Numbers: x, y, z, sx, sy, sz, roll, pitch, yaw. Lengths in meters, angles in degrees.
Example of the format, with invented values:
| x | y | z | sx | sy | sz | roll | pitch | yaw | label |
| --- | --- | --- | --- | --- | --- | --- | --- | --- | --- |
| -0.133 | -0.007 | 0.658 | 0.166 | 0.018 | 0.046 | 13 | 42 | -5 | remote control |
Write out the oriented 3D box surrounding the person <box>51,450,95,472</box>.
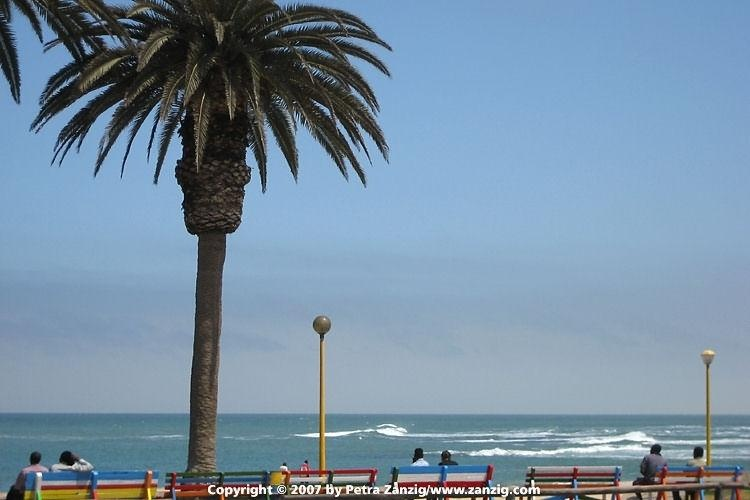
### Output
| x | y | z | sx | sy | sz | roll | pitch | yaw | label |
| --- | --- | --- | --- | --- | --- | --- | --- | --- | --- |
| -20.420 | 14.170 | 98.735 | 2.419 | 1.302 | 1.018 | 5 | -17 | -8 | person |
